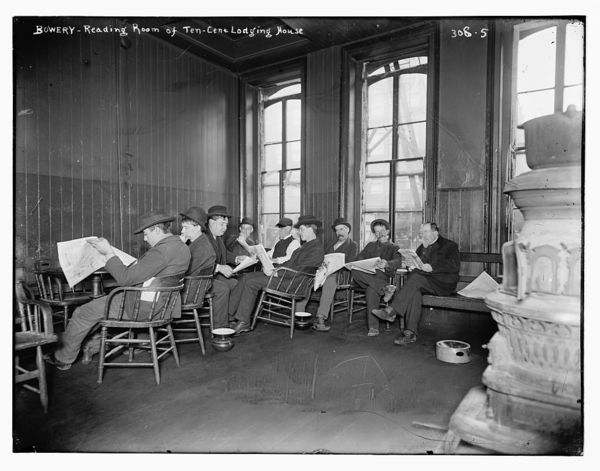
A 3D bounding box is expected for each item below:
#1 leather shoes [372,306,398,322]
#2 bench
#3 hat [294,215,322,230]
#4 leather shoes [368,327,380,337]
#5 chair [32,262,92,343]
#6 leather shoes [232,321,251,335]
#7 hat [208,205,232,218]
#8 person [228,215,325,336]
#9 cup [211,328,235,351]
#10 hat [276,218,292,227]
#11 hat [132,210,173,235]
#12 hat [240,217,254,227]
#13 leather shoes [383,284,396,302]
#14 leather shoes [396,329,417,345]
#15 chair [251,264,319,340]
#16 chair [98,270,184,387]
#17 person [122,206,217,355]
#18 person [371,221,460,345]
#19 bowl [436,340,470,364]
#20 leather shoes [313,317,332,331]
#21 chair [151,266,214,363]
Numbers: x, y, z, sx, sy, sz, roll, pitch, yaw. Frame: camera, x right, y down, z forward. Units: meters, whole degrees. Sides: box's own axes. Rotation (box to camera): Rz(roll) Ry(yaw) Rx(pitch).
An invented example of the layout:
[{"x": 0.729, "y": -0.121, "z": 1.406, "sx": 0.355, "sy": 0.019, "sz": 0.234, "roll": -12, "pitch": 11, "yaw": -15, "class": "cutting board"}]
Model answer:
[{"x": 0.985, "y": 0.876, "z": 5.656, "sx": 0.322, "sy": 0.165, "sz": 0.130, "roll": 16, "pitch": 16, "yaw": -8, "class": "leather shoes"}, {"x": 1.939, "y": 0.623, "z": 5.598, "sx": 1.134, "sy": 0.769, "sz": 0.477, "roll": 3, "pitch": 14, "yaw": 28, "class": "bench"}, {"x": 0.125, "y": -0.176, "z": 6.612, "sx": 0.223, "sy": 0.098, "sz": 0.248, "roll": -5, "pitch": -10, "yaw": 3, "class": "hat"}, {"x": 0.821, "y": 1.080, "z": 5.522, "sx": 0.125, "sy": 0.069, "sz": 0.148, "roll": -2, "pitch": 5, "yaw": 5, "class": "leather shoes"}, {"x": -2.693, "y": 0.680, "z": 5.453, "sx": 0.386, "sy": 0.617, "sz": 0.480, "roll": 1, "pitch": 9, "yaw": -3, "class": "chair"}, {"x": -0.685, "y": 1.048, "z": 5.601, "sx": 0.090, "sy": 0.130, "sz": 0.272, "roll": -3, "pitch": -13, "yaw": 30, "class": "leather shoes"}, {"x": -0.993, "y": -0.291, "z": 5.941, "sx": 0.250, "sy": 0.124, "sz": 0.296, "roll": 1, "pitch": 1, "yaw": -30, "class": "hat"}, {"x": -0.279, "y": 0.451, "z": 5.959, "sx": 0.945, "sy": 1.566, "sz": 0.614, "roll": 11, "pitch": 4, "yaw": -12, "class": "person"}, {"x": -0.759, "y": 1.039, "z": 4.981, "sx": 0.195, "sy": 0.154, "sz": 0.205, "roll": 1, "pitch": 5, "yaw": 0, "class": "cup"}, {"x": -0.205, "y": -0.176, "z": 7.038, "sx": 0.170, "sy": 0.093, "sz": 0.133, "roll": 8, "pitch": 4, "yaw": -4, "class": "hat"}, {"x": -1.531, "y": -0.132, "z": 5.095, "sx": 0.308, "sy": 0.125, "sz": 0.270, "roll": -26, "pitch": -2, "yaw": -19, "class": "hat"}, {"x": -0.757, "y": -0.197, "z": 7.124, "sx": 0.173, "sy": 0.092, "sz": 0.229, "roll": 7, "pitch": -1, "yaw": -4, "class": "hat"}, {"x": 1.064, "y": 0.691, "z": 5.851, "sx": 0.140, "sy": 0.205, "sz": 0.064, "roll": 22, "pitch": 8, "yaw": 38, "class": "leather shoes"}, {"x": 1.151, "y": 1.112, "z": 5.324, "sx": 0.282, "sy": 0.131, "sz": 0.105, "roll": 5, "pitch": -6, "yaw": -30, "class": "leather shoes"}, {"x": -0.160, "y": 0.735, "z": 5.808, "sx": 0.546, "sy": 0.851, "sz": 0.663, "roll": 16, "pitch": -6, "yaw": 6, "class": "chair"}, {"x": -1.468, "y": 0.795, "z": 4.729, "sx": 0.797, "sy": 1.335, "sz": 0.932, "roll": 1, "pitch": -5, "yaw": -3, "class": "chair"}, {"x": -1.167, "y": 0.464, "z": 5.291, "sx": 0.620, "sy": 1.517, "sz": 0.605, "roll": 2, "pitch": 4, "yaw": 9, "class": "person"}, {"x": 1.372, "y": 0.497, "z": 5.698, "sx": 1.117, "sy": 1.211, "sz": 0.631, "roll": -7, "pitch": 7, "yaw": -43, "class": "person"}, {"x": 1.484, "y": 1.120, "z": 4.779, "sx": 0.329, "sy": 0.163, "sz": 0.282, "roll": -1, "pitch": 5, "yaw": 16, "class": "bowl"}, {"x": 0.270, "y": 1.050, "z": 5.776, "sx": 0.201, "sy": 0.160, "sz": 0.098, "roll": 0, "pitch": -3, "yaw": 10, "class": "leather shoes"}, {"x": -1.174, "y": 0.758, "z": 5.100, "sx": 0.530, "sy": 0.761, "sz": 0.602, "roll": 4, "pitch": -3, "yaw": -23, "class": "chair"}]
